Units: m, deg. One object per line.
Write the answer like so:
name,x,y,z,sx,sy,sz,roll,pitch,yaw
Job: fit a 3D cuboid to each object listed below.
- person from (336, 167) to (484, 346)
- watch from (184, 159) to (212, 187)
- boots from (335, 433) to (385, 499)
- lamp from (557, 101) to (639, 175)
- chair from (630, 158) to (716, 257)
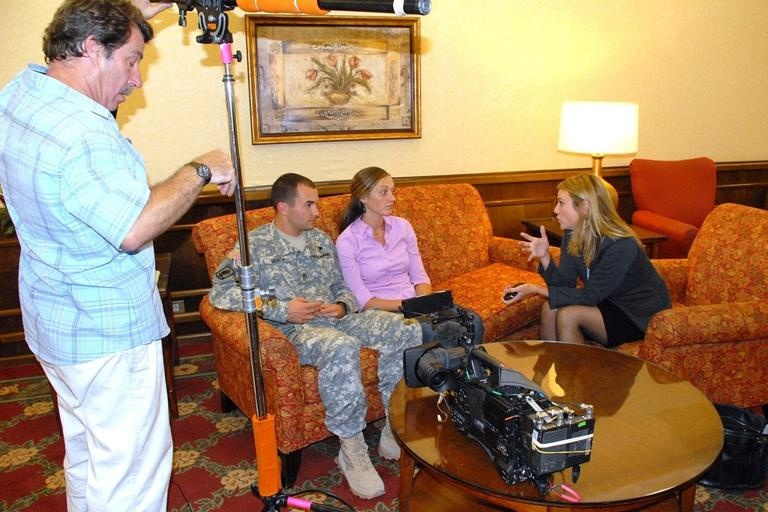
person,0.112,0.096,3.260,0.626,1.188,1.016,-11,20,-30
watch,-0.637,-0.300,1.856,0.065,0.099,0.106,-33,3,-21
boots,-0.131,1.071,2.724,0.141,0.272,0.417,3,1,-23
lamp,1.568,-0.914,4.220,0.604,0.655,0.596,-3,14,-7
chair,2.276,-0.378,4.201,0.643,0.769,0.581,-8,19,-12
